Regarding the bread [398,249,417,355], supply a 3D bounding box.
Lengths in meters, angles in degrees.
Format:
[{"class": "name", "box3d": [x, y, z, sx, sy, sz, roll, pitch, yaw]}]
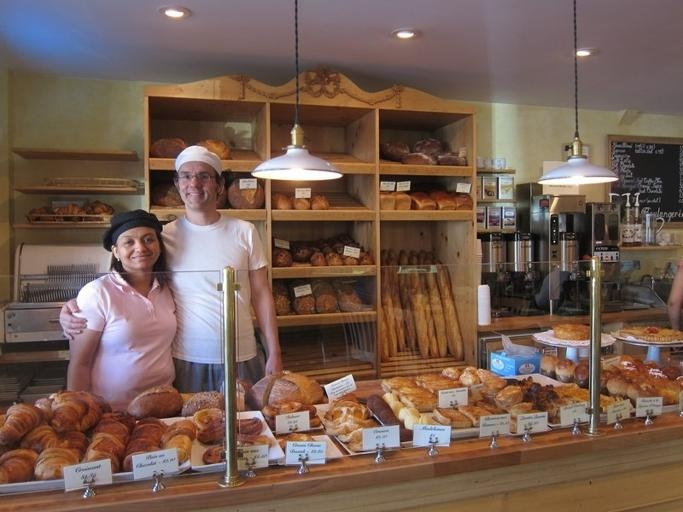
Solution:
[{"class": "bread", "box3d": [0.289, 0.213, 2.567, 0.071, 0.395, 0.074, -3, -1, -26]}]

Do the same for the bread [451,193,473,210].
[{"class": "bread", "box3d": [0.908, -0.411, 4.341, 0.116, 0.042, 0.144, 1, 26, -1]}]

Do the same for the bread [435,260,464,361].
[{"class": "bread", "box3d": [0.453, 0.223, 2.435, 0.100, 0.396, 0.080, -9, -4, -3]}]

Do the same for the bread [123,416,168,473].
[{"class": "bread", "box3d": [-0.638, 0.632, 1.884, 0.122, 0.083, 0.243, 4, 23, -12]}]

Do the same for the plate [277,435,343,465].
[{"class": "plate", "box3d": [-0.098, 0.638, 1.955, 0.130, 0.020, 0.133, 4, 4, 44]}]

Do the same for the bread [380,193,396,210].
[{"class": "bread", "box3d": [0.333, -0.405, 4.192, 0.136, 0.095, 0.122, 0, 4, -2]}]

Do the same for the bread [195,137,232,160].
[{"class": "bread", "box3d": [-0.839, -0.746, 3.885, 0.220, 0.059, 0.195, 9, 37, -31]}]

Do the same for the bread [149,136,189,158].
[{"class": "bread", "box3d": [-1.125, -0.706, 3.841, 0.298, 0.185, 0.079, -2, -37, -5]}]

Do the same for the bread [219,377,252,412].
[{"class": "bread", "box3d": [-0.333, 0.470, 1.962, 0.144, 0.113, 0.103, 2, -9, -6]}]

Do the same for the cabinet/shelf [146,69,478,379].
[{"class": "cabinet/shelf", "box3d": [-0.198, -0.270, 3.300, 2.294, 1.988, 0.587, 0, -4, -19]}]

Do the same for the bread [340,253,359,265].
[{"class": "bread", "box3d": [0.056, 0.015, 4.168, 0.101, 0.080, 0.026, 3, 8, -6]}]

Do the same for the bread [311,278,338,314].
[{"class": "bread", "box3d": [-0.085, 0.197, 2.991, 0.077, 0.080, 0.276, -45, 9, 6]}]

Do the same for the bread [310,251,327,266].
[{"class": "bread", "box3d": [-0.161, 0.009, 4.094, 0.095, 0.097, 0.063, 11, -20, -35]}]

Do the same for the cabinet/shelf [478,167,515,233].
[{"class": "cabinet/shelf", "box3d": [1.313, -0.470, 4.931, 0.319, 0.514, 0.520, -1, 1, 15]}]

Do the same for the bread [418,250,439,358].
[{"class": "bread", "box3d": [0.378, 0.222, 2.545, 0.079, 0.405, 0.063, 2, -3, 1]}]

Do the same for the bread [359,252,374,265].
[{"class": "bread", "box3d": [0.177, 0.010, 4.176, 0.093, 0.084, 0.026, 2, -41, 1]}]

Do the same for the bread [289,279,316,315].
[{"class": "bread", "box3d": [-0.247, 0.254, 3.621, 0.120, 0.099, 0.384, -4, 5, -5]}]

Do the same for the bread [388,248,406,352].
[{"class": "bread", "box3d": [0.245, 0.202, 2.593, 0.057, 0.395, 0.063, -6, -9, 4]}]

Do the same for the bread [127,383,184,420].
[{"class": "bread", "box3d": [-0.628, 0.487, 1.953, 0.145, 0.066, 0.100, -5, -4, -24]}]

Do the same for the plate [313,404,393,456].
[{"class": "plate", "box3d": [0.024, 0.588, 2.037, 0.137, 0.059, 0.196, -11, 25, -22]}]

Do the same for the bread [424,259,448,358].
[{"class": "bread", "box3d": [0.392, 0.220, 2.484, 0.074, 0.416, 0.082, -10, 0, 3]}]

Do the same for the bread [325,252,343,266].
[{"class": "bread", "box3d": [-0.057, 0.017, 4.134, 0.114, 0.091, 0.031, -7, -14, -29]}]

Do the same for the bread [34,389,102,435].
[{"class": "bread", "box3d": [-0.861, 0.486, 1.829, 0.154, 0.051, 0.152, 21, 17, 10]}]

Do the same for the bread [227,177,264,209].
[{"class": "bread", "box3d": [-0.634, -0.420, 3.863, 0.248, 0.201, 0.120, 6, -8, -11]}]

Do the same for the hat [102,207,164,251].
[{"class": "hat", "box3d": [-0.869, -0.121, 2.402, 0.196, 0.061, 0.201, -36, -24, 24]}]

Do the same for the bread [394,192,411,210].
[{"class": "bread", "box3d": [0.449, -0.406, 4.302, 0.123, 0.094, 0.199, 0, 4, -3]}]

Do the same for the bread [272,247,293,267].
[{"class": "bread", "box3d": [-0.411, 0.002, 3.984, 0.138, 0.114, 0.065, -3, -13, -25]}]

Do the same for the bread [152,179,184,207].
[{"class": "bread", "box3d": [-1.140, -0.422, 3.797, 0.189, 0.048, 0.153, 12, 39, -1]}]

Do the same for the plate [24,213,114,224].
[{"class": "plate", "box3d": [-1.887, -0.262, 4.001, 0.265, 0.035, 0.237, 0, -5, -11]}]

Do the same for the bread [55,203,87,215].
[{"class": "bread", "box3d": [-1.873, -0.316, 4.005, 0.153, 0.052, 0.141, 0, -2, 21]}]

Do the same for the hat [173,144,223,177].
[{"class": "hat", "box3d": [-0.739, -0.487, 2.951, 0.349, 0.104, 0.347, -2, 15, -9]}]

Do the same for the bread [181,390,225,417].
[{"class": "bread", "box3d": [-0.467, 0.489, 1.950, 0.141, 0.039, 0.098, 2, 4, 24]}]

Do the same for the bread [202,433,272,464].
[{"class": "bread", "box3d": [-0.349, 0.610, 1.888, 0.186, 0.031, 0.092, -7, 12, -21]}]

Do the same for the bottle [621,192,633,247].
[{"class": "bottle", "box3d": [2.672, -0.367, 5.424, 0.088, 0.499, 0.465, -1, 1, 26]}]

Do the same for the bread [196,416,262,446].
[{"class": "bread", "box3d": [-0.372, 0.564, 1.908, 0.173, 0.046, 0.095, -1, 5, -13]}]

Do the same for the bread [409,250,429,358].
[{"class": "bread", "box3d": [0.301, 0.218, 2.448, 0.072, 0.405, 0.075, -5, -4, -5]}]
